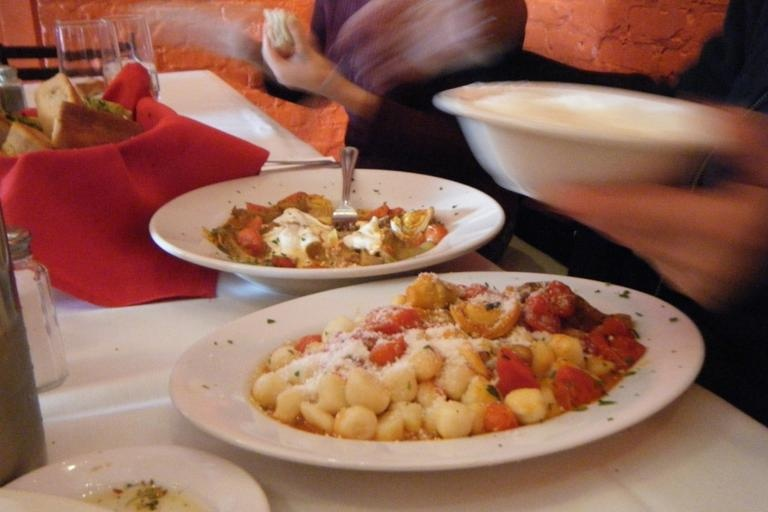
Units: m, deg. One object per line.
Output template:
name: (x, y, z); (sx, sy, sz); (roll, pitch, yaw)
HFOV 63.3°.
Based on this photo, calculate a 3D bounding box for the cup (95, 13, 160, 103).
cup: (-0.759, -0.575, 1.884); (0.171, 0.273, 0.172); (0, 30, 0)

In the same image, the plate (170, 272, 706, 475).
plate: (0.096, 0.146, 0.671); (0.394, 0.043, 0.288); (-5, 22, -11)

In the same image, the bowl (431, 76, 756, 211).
bowl: (0.152, -0.102, 0.561); (0.272, 0.107, 0.080); (21, 37, 24)
